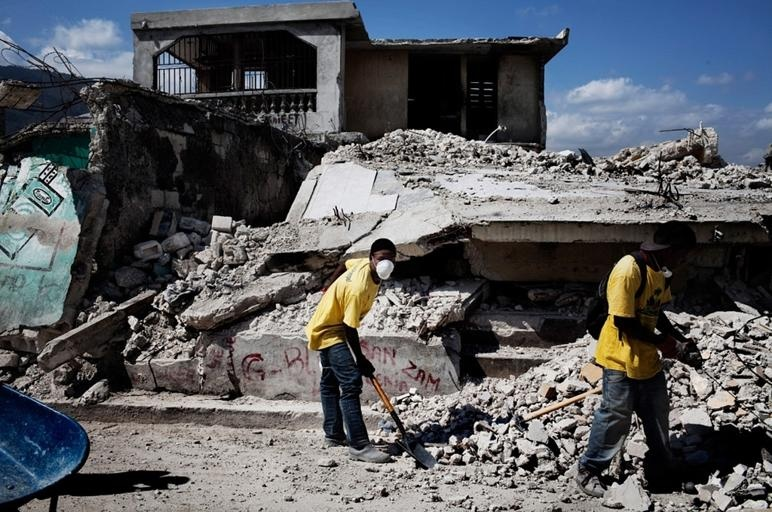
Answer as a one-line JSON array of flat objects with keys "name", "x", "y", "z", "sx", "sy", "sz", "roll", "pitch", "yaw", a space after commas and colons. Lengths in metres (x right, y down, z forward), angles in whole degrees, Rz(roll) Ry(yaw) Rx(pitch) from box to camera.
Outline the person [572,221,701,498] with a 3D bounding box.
[{"name": "person", "x": 2.381, "y": 0.996, "z": 5.980, "sx": 1.031, "sy": 2.649, "sz": 0.307, "roll": 1, "pitch": 6, "yaw": -5}]

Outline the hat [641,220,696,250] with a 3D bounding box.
[{"name": "hat", "x": 2.700, "y": -0.209, "z": 5.958, "sx": 0.382, "sy": 0.223, "sz": 0.285, "roll": 6, "pitch": -14, "yaw": 0}]

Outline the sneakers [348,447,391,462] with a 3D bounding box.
[{"name": "sneakers", "x": -0.165, "y": 2.083, "z": 6.582, "sx": 0.359, "sy": 0.169, "sz": 0.171, "roll": -2, "pitch": 0, "yaw": 10}]

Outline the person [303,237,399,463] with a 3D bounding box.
[{"name": "person", "x": -0.365, "y": 0.963, "z": 6.633, "sx": 0.946, "sy": 2.317, "sz": 0.368, "roll": 5, "pitch": 7, "yaw": 28}]

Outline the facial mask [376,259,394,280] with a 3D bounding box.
[{"name": "facial mask", "x": -0.016, "y": 0.141, "z": 6.528, "sx": 0.162, "sy": 0.130, "sz": 0.188, "roll": 1, "pitch": 8, "yaw": -5}]

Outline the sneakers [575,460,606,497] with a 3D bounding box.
[{"name": "sneakers", "x": 1.963, "y": 2.163, "z": 6.127, "sx": 0.175, "sy": 0.255, "sz": 0.379, "roll": -5, "pitch": 9, "yaw": -41}]
